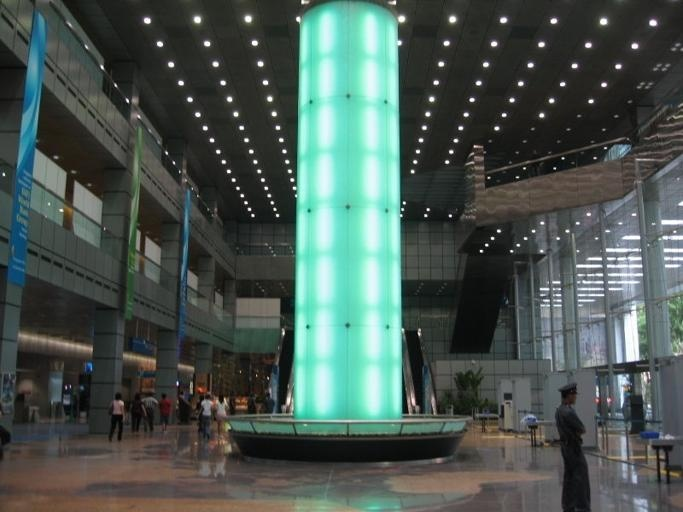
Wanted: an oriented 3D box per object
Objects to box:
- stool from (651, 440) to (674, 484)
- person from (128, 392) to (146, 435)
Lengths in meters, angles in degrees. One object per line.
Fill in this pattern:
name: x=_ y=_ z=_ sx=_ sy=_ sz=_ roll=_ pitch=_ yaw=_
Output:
stool: x=6.666 y=4.201 z=12.005 sx=0.393 sy=0.826 sz=1.725 roll=-9 pitch=-20 yaw=27
person: x=-8.751 y=6.651 z=24.876 sx=0.603 sy=1.686 sz=1.943 roll=4 pitch=-18 yaw=-19
